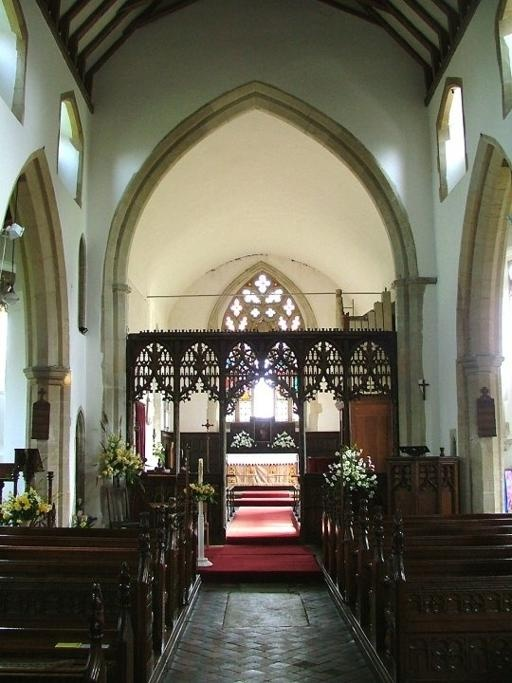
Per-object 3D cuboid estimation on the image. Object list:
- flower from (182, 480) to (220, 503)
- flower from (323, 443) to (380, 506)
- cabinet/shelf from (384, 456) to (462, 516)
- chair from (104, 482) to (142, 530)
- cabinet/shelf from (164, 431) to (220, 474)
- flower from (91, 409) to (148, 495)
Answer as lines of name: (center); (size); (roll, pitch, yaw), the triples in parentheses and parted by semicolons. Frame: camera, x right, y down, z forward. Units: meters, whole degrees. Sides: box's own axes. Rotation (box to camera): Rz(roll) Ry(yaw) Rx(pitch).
flower: (-0.843, 2.302, 9.285); (0.325, 0.339, 0.907); (-3, -8, 1)
flower: (1.508, 2.157, 9.481); (0.451, 0.602, 0.454); (-19, -20, 39)
cabinet/shelf: (2.368, 2.046, 8.641); (0.947, 1.206, 0.820); (1, -13, -4)
chair: (-2.181, 2.715, 10.034); (0.601, 0.686, 1.439); (-1, -8, -12)
cabinet/shelf: (-1.492, 2.568, 14.285); (1.365, 0.998, 6.471); (-2, -8, -7)
flower: (-2.400, 1.839, 10.454); (0.828, 1.722, 1.057); (-1, -6, 1)
